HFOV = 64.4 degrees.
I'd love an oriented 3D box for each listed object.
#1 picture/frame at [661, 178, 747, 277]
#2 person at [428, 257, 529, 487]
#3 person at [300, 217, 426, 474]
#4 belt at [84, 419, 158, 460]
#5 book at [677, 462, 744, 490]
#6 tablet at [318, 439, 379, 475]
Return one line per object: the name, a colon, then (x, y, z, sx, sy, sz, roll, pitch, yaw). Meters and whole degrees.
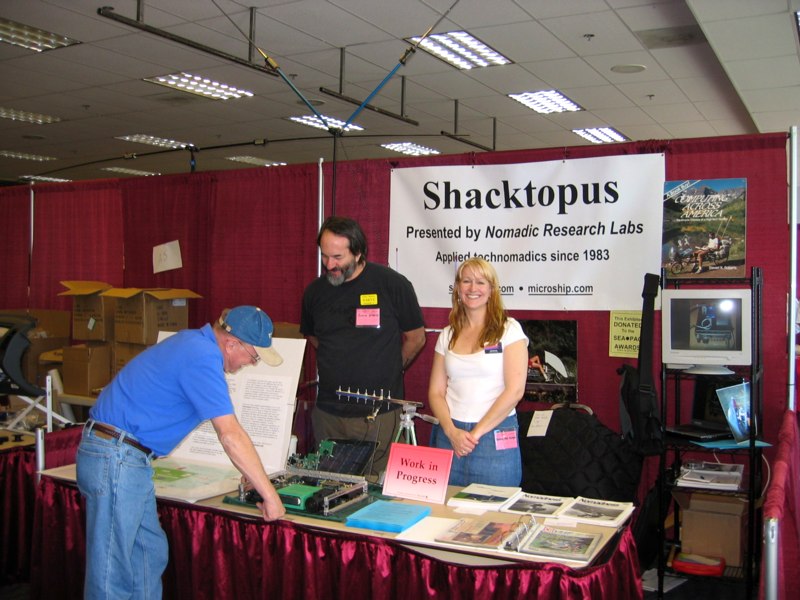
picture/frame: (1.796, -0.416, 3.716, 0.583, 0.763, 0.080, 0, -4, 15)
person: (0.390, 0.375, 3.275, 0.497, 1.146, 0.489, 3, 12, 16)
person: (-0.226, 0.233, 3.713, 0.758, 1.424, 0.593, -1, 11, -3)
belt: (-1.174, 0.580, 2.698, 0.197, 0.056, 0.184, 30, -10, -34)
book: (1.755, 0.998, 3.600, 0.207, 0.049, 0.210, -3, 1, 20)
tablet: (-0.266, 0.795, 3.236, 0.201, 0.050, 0.201, 7, 32, 17)
